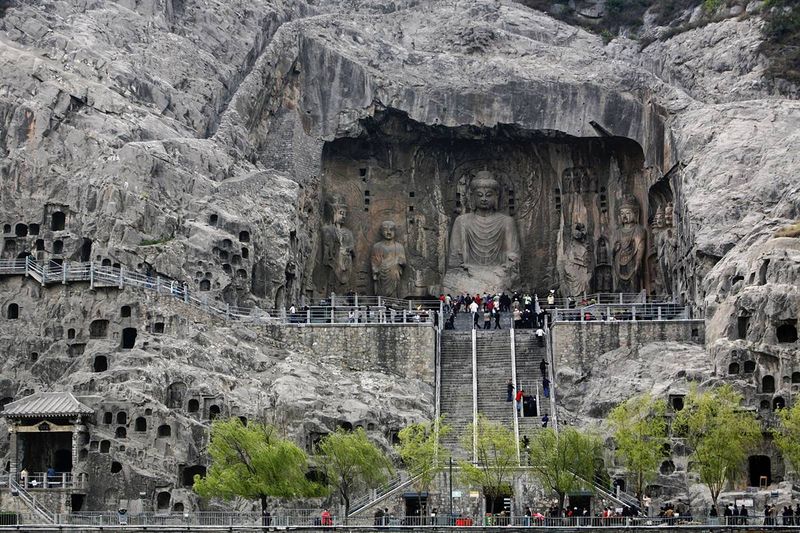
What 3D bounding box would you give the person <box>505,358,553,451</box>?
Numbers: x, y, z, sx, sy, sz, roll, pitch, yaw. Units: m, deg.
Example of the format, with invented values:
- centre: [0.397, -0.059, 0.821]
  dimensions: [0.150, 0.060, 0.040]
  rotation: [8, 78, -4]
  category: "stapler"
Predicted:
- centre: [6.143, 6.105, 93.503]
  dimensions: [1.535, 3.885, 0.831]
  rotation: [-9, -21, 19]
  category: "person"
